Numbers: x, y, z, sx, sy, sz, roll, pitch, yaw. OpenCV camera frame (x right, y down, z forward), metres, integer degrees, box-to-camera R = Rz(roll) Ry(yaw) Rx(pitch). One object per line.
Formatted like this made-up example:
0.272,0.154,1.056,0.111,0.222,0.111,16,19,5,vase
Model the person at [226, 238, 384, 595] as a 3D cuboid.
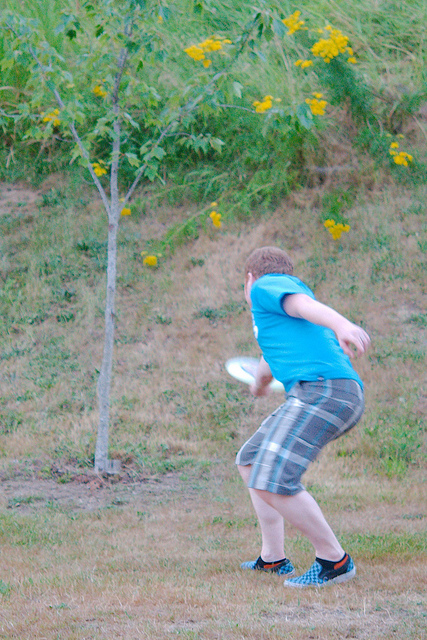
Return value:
0.573,0.690,9.044,0.860,2.272,1.229,-7,12,-21,person
